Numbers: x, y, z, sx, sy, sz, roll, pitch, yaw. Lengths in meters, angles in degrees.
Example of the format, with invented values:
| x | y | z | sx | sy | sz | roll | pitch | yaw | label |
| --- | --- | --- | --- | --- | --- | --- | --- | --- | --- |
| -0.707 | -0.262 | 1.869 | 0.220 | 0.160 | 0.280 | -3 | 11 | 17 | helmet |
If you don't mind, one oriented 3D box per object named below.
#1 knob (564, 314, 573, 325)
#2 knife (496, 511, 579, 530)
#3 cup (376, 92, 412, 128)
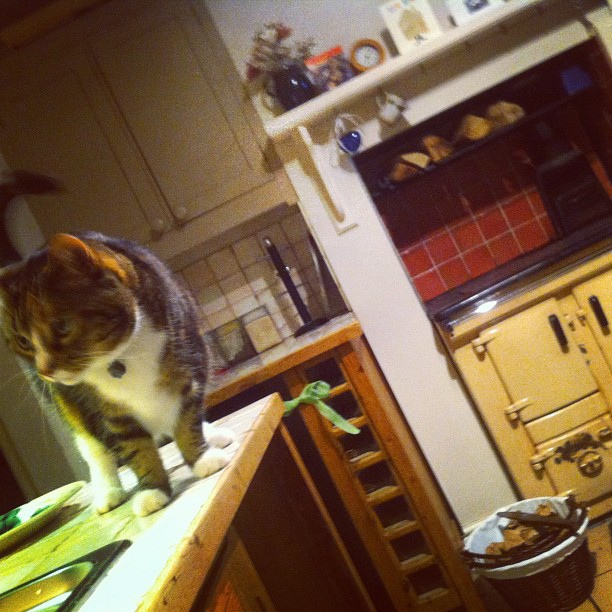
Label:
| x | y | z | sx | sy | sz | roll | pitch | yaw | label |
| --- | --- | --- | --- | --- | --- | --- | --- | --- | --- |
| 0.877 | 0.045 | 2.064 | 0.028 | 0.040 | 0.010 | -29 | 0 | 6 | knob |
| 0.620 | 0.579 | 1.678 | 0.207 | 0.014 | 0.051 | -4 | 21 | 33 | knife |
| 0.303 | -0.706 | 2.257 | 0.119 | 0.134 | 0.108 | -68 | 3 | -68 | cup |
